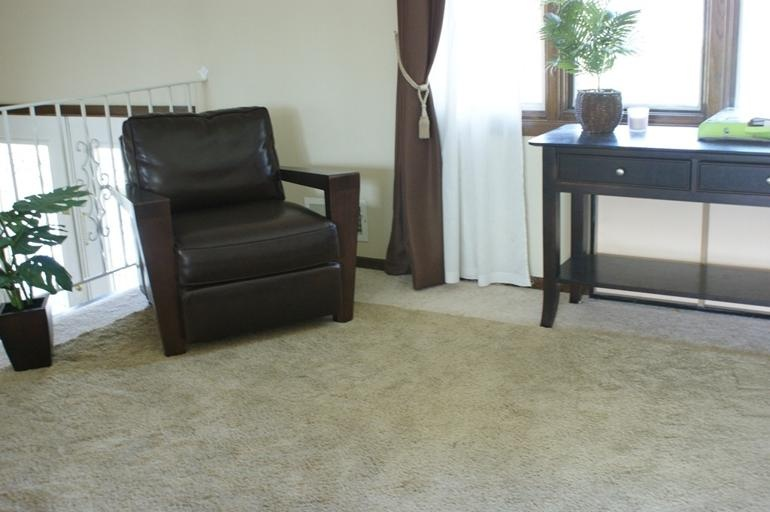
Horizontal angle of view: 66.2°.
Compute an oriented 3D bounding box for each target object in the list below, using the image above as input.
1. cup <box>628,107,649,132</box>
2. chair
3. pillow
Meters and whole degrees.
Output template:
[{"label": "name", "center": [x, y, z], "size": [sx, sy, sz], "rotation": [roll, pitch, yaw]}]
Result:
[{"label": "cup", "center": [1.239, -0.683, 2.959], "size": [0.119, 0.124, 0.118], "rotation": [-2, 11, 0]}, {"label": "chair", "center": [-0.754, -0.113, 3.200], "size": [1.049, 0.774, 1.035], "rotation": [-9, 20, -27]}, {"label": "pillow", "center": [-0.984, -0.528, 3.211], "size": [0.601, 0.208, 0.392], "rotation": [-7, 58, -17]}]
